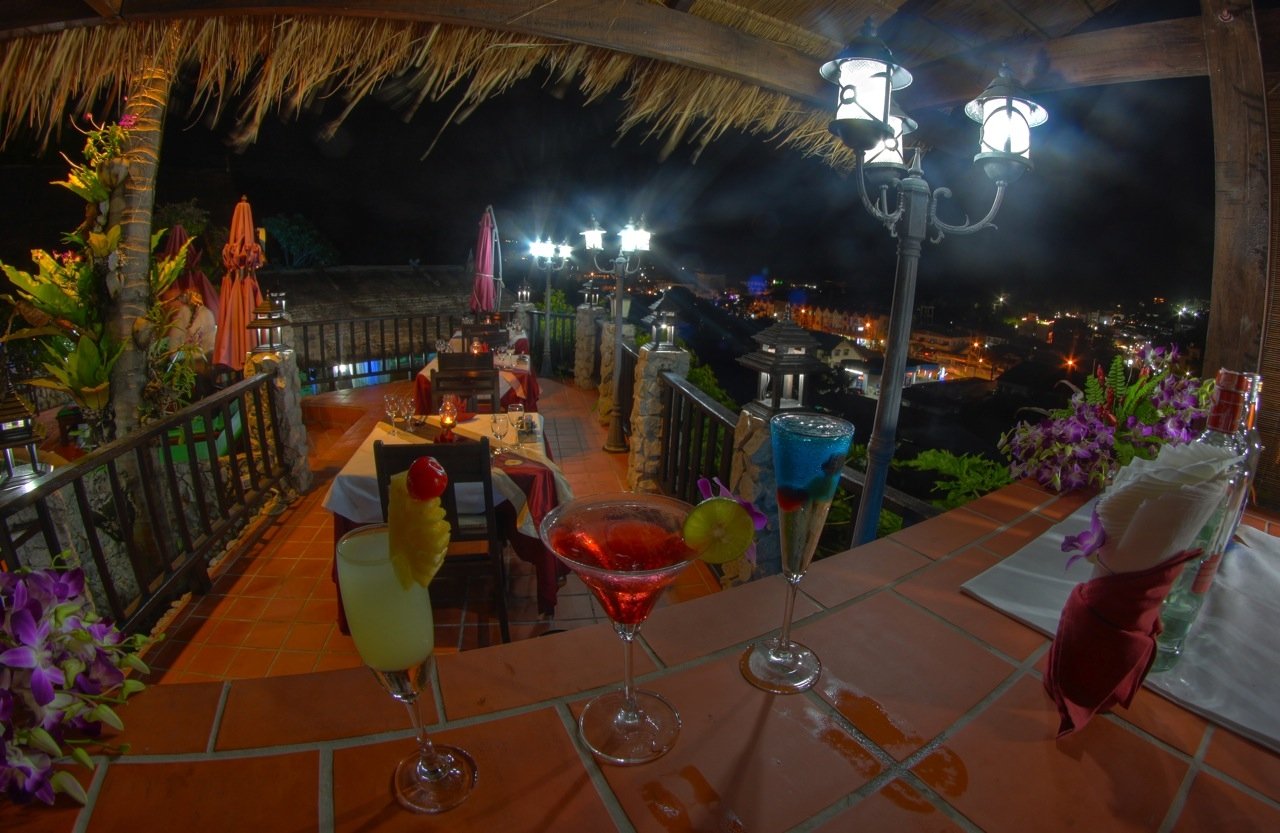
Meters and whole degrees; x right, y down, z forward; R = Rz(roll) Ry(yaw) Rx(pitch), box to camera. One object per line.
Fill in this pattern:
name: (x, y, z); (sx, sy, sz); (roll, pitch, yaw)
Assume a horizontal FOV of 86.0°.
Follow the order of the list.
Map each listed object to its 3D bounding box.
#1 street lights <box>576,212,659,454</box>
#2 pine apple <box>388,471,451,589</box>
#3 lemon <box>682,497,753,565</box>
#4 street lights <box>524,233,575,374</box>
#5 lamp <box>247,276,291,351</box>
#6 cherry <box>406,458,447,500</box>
street lights: (-0.143, -1.017, 8.956); (0.516, 2.939, 0.804); (1, 9, 0)
pine apple: (-0.742, 0.388, 2.391); (0.231, 0.381, 0.224); (4, 12, -3)
lemon: (0.283, 0.418, 2.434); (0.267, 0.264, 0.161); (-2, 9, -19)
street lights: (-1.831, -2.316, 14.004); (0.770, 3.019, 0.814); (2, 12, -10)
lamp: (-3.902, -1.007, 7.232); (0.337, 0.574, 0.903); (-3, 10, -25)
cherry: (-0.718, 0.213, 2.293); (0.123, 0.162, 0.236); (-2, 10, -19)
